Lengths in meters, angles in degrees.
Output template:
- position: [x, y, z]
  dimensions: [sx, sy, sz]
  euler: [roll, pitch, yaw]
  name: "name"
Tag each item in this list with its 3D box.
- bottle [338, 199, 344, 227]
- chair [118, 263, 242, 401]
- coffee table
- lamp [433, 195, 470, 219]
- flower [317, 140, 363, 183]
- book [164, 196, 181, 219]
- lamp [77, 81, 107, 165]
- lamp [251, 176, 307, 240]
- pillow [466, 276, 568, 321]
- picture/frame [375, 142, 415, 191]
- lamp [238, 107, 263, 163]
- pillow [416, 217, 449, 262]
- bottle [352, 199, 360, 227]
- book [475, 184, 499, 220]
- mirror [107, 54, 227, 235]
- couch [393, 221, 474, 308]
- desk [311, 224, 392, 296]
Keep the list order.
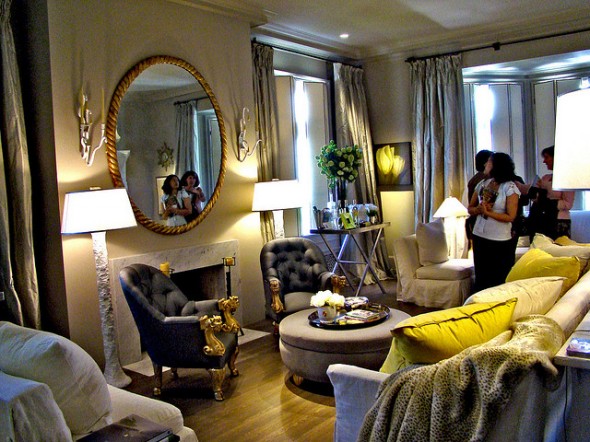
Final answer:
- position: [0.628, -0.105, 6.123]
  dimensions: [0.090, 0.357, 0.290]
  euler: [-1, 7, 8]
  name: "bottle"
- position: [-0.822, 0.899, 4.144]
  dimensions: [1.068, 1.222, 0.935]
  euler: [1, 3, 5]
  name: "chair"
- position: [0.207, 0.959, 3.704]
  dimensions: [0.793, 0.393, 0.809]
  euler: [-4, 8, -19]
  name: "coffee table"
- position: [2.195, -0.171, 6.413]
  dimensions: [0.337, 0.251, 0.347]
  euler: [-11, 13, -37]
  name: "lamp"
- position: [0.641, -0.815, 6.289]
  dimensions: [0.578, 0.427, 0.551]
  euler: [10, 25, 38]
  name: "flower"
- position: [-1.266, -0.138, 4.635]
  dimensions: [0.067, 0.195, 0.137]
  euler: [4, 2, 39]
  name: "book"
- position: [-1.826, -0.835, 4.046]
  dimensions: [0.161, 0.692, 0.307]
  euler: [-2, 7, 4]
  name: "lamp"
- position: [-0.220, -0.118, 5.294]
  dimensions: [0.506, 0.703, 0.473]
  euler: [2, 8, 32]
  name: "lamp"
- position: [1.263, 0.419, 2.509]
  dimensions: [0.307, 0.096, 0.306]
  euler: [-25, -10, 23]
  name: "pillow"
- position: [1.653, -0.909, 7.397]
  dimensions: [0.732, 0.894, 0.088]
  euler: [5, 11, 37]
  name: "picture/frame"
- position: [-0.564, -1.024, 5.368]
  dimensions: [0.129, 0.639, 0.317]
  euler: [4, 9, 39]
  name: "lamp"
- position: [1.790, 0.268, 5.915]
  dimensions: [0.490, 0.501, 0.184]
  euler: [-12, 3, -40]
  name: "pillow"
- position: [0.822, -0.066, 6.278]
  dimensions: [0.114, 0.270, 0.317]
  euler: [-1, 7, 7]
  name: "bottle"
- position: [1.964, -0.211, 4.636]
  dimensions: [0.114, 0.275, 0.187]
  euler: [-5, 7, -20]
  name: "book"
- position: [-1.337, -0.771, 4.551]
  dimensions: [0.079, 2.159, 1.806]
  euler: [-1, 3, 27]
  name: "mirror"
- position: [1.693, 0.626, 5.778]
  dimensions: [0.931, 1.199, 1.167]
  euler: [1, 4, 32]
  name: "couch"
- position: [0.769, 0.554, 6.664]
  dimensions: [1.032, 1.058, 1.050]
  euler: [5, 12, 40]
  name: "desk"
